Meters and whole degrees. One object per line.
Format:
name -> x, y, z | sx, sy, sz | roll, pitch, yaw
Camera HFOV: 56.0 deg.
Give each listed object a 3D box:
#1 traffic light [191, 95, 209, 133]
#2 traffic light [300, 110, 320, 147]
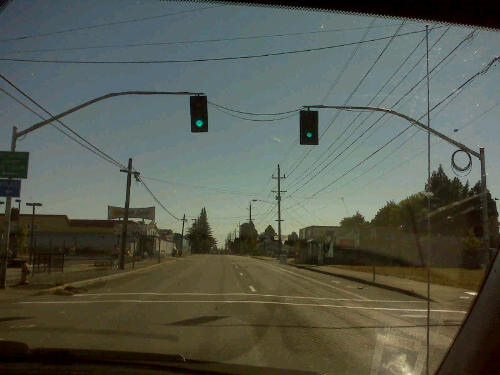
traffic light -> -1.689, -2.474, 15.512 | 0.595, 0.095, 1.355 | -4, -53, -9
traffic light -> 2.012, -2.024, 15.974 | 0.606, 1.286, 0.120 | -2, -23, 9
